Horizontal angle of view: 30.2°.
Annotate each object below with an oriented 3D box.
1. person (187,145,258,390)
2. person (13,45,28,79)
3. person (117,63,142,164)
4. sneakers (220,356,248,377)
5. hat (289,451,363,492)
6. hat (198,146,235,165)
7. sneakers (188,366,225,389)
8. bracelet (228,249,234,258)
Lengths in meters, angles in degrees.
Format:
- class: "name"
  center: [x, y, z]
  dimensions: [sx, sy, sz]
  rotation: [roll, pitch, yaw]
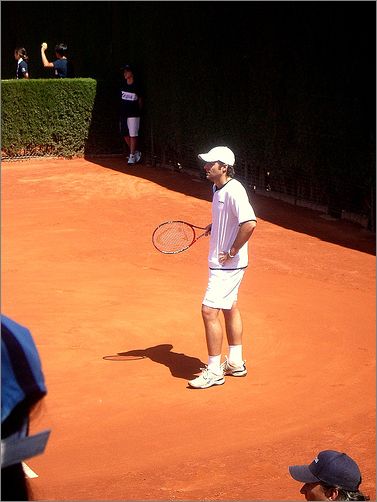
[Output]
- class: "person"
  center: [0.321, 0.164, 6.088]
  dimensions: [0.582, 2.103, 0.590]
  rotation: [5, 12, 1]
- class: "person"
  center: [-4.444, -4.993, 18.475]
  dimensions: [0.317, 0.886, 1.862]
  rotation: [1, 11, -14]
- class: "person"
  center: [-1.489, -3.509, 18.056]
  dimensions: [0.594, 2.502, 0.866]
  rotation: [3, 12, -6]
- class: "sneakers"
  center: [0.377, 1.087, 6.382]
  dimensions: [0.296, 0.117, 0.113]
  rotation: [3, 5, 44]
- class: "hat"
  center: [0.565, 0.882, 2.860]
  dimensions: [0.246, 0.102, 0.153]
  rotation: [12, -2, 15]
- class: "hat"
  center: [0.260, -0.821, 6.044]
  dimensions: [0.297, 0.129, 0.184]
  rotation: [10, 0, -11]
- class: "sneakers"
  center: [0.166, 1.133, 6.167]
  dimensions: [0.391, 0.156, 0.135]
  rotation: [-4, 1, -25]
- class: "bracelet"
  center: [0.359, 0.028, 5.922]
  dimensions: [0.058, 0.035, 0.071]
  rotation: [5, -31, 8]
